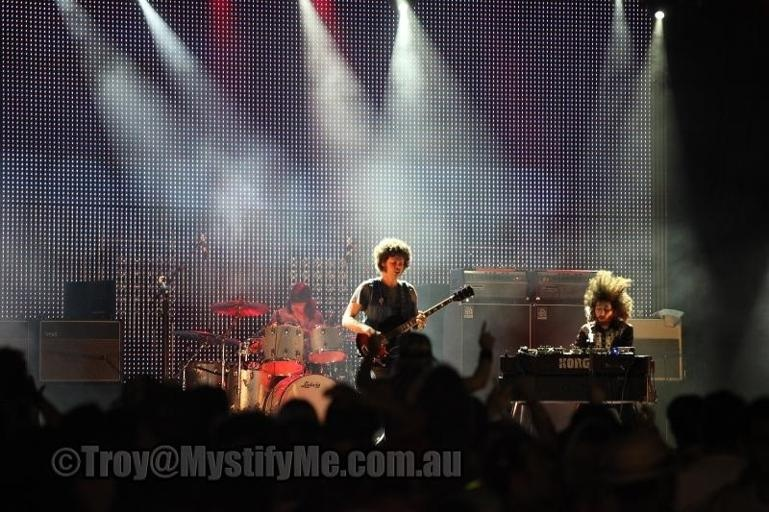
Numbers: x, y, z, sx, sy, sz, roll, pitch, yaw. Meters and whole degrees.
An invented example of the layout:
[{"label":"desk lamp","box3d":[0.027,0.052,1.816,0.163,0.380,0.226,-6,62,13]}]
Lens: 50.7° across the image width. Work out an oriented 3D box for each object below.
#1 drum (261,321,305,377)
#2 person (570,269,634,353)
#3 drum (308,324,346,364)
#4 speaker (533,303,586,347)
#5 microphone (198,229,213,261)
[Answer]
[{"label":"drum","box3d":[-1.047,0.959,8.399,0.463,0.471,0.484,1,-8,-8]},{"label":"person","box3d":[2.008,0.529,7.575,0.504,0.823,0.446,-6,-30,27]},{"label":"drum","box3d":[-0.609,0.926,8.663,0.361,0.292,0.374,-3,-15,-1]},{"label":"speaker","box3d":[1.818,0.706,8.555,0.455,0.466,0.450,0,-6,-3]},{"label":"microphone","box3d":[-2.111,-0.129,9.562,0.184,0.317,0.091,4,-8,-14]}]
